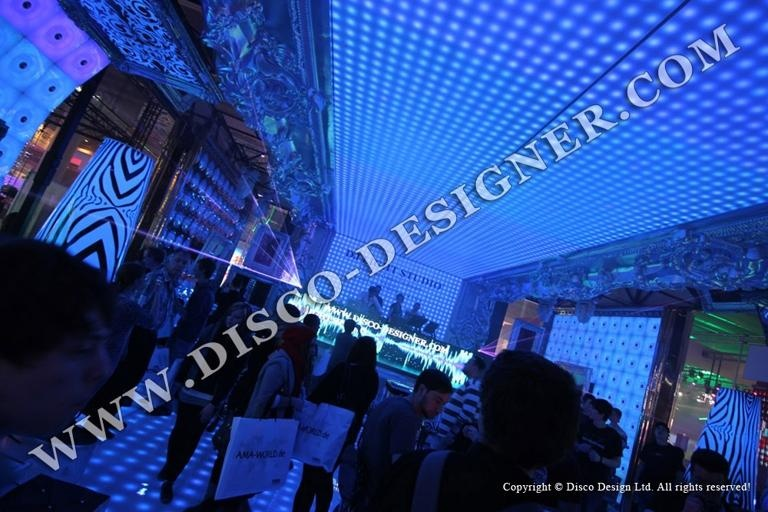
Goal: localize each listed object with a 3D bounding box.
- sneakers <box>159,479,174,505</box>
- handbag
[{"bbox_3d":[-2.079,2.283,4.497,0.122,0.235,0.093,16,-49,-28],"label":"sneakers"},{"bbox_3d":[-1.032,1.425,3.981,0.620,1.223,0.468,24,-15,-26],"label":"handbag"}]
